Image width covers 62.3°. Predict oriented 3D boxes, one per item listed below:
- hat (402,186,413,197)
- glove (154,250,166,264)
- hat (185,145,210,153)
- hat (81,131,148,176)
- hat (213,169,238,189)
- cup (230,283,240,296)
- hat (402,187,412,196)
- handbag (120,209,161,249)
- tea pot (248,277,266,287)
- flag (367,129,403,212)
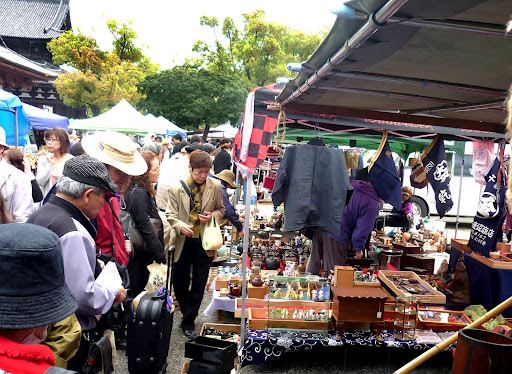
[{"bbox_3d":[3.014,0.083,8.471,0.198,0.213,0.265,3,-20,29],"label":"hat"},{"bbox_3d":[-1.111,0.804,4.889,0.161,0.221,0.153,0,-9,-8],"label":"glove"},{"bbox_3d":[-1.028,-0.666,7.173,0.411,0.130,0.446,1,4,1],"label":"hat"},{"bbox_3d":[-1.466,-0.263,4.232,0.554,0.164,0.500,31,24,-12],"label":"hat"},{"bbox_3d":[-0.448,-0.140,6.814,0.343,0.160,0.331,32,-13,-19],"label":"hat"},{"bbox_3d":[-0.269,1.329,5.509,0.134,0.122,0.126,0,7,0],"label":"cup"},{"bbox_3d":[2.951,0.069,8.272,0.172,0.184,0.227,7,8,12],"label":"hat"},{"bbox_3d":[-1.303,0.475,4.707,0.410,0.408,0.174,-9,0,-18],"label":"handbag"},{"bbox_3d":[0.010,1.134,5.088,0.132,0.071,0.099,-3,-6,29],"label":"tea pot"},{"bbox_3d":[1.783,-0.230,5.660,0.475,0.781,0.352,9,-3,-25],"label":"flag"}]
